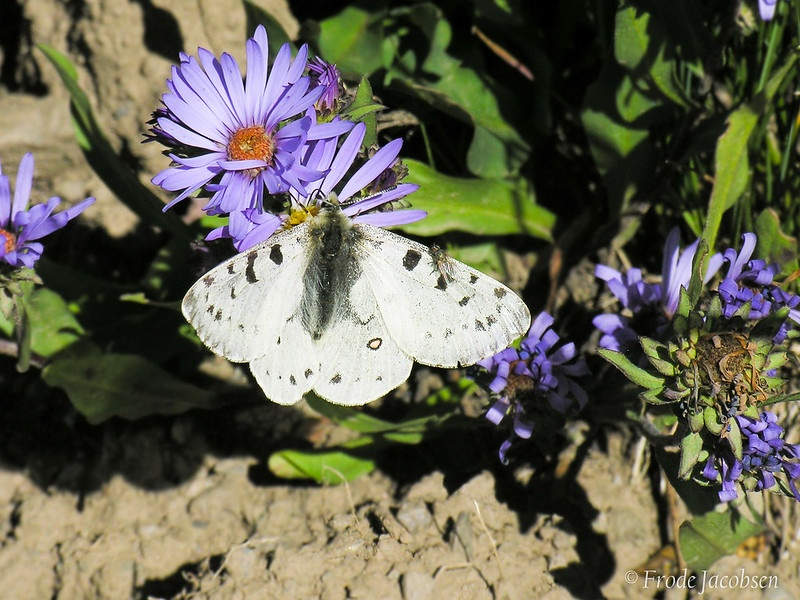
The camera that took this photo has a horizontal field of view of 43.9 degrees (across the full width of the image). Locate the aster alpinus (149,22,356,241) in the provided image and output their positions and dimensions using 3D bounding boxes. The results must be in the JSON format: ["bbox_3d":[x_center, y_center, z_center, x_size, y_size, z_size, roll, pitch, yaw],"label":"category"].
[{"bbox_3d":[-0.488,-0.588,3.209,0.600,0.715,0.257,20,-1,4],"label":"aster alpinus"}]

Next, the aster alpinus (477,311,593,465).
[{"bbox_3d":[0.424,0.268,3.198,0.349,0.332,0.260,-11,46,-29],"label":"aster alpinus"}]
